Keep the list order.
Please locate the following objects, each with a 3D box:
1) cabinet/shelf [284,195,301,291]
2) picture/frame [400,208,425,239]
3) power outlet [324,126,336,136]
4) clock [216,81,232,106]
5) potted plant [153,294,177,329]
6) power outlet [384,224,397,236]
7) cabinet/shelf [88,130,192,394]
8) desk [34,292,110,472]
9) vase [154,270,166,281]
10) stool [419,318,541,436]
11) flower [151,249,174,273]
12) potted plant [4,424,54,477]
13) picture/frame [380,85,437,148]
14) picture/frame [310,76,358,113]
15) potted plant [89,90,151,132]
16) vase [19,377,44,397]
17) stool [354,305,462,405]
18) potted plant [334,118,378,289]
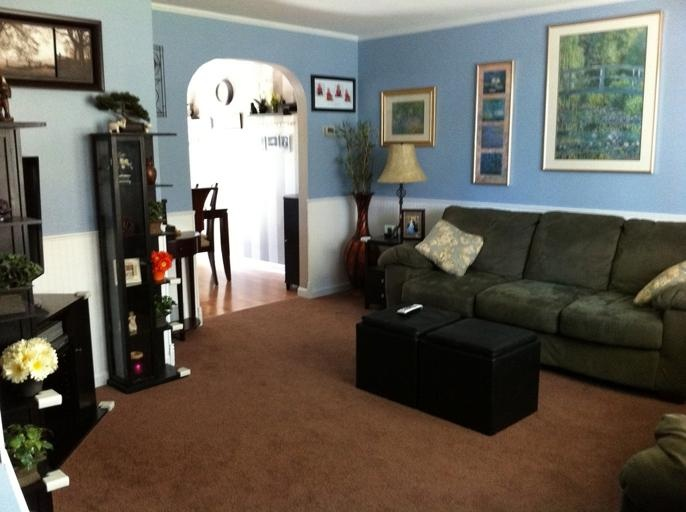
[{"bbox_3d":[-0.579,-0.133,6.103,0.254,1.085,0.144,10,17,39],"label":"cabinet/shelf"},{"bbox_3d":[0.728,-0.337,5.537,0.273,0.409,0.047,3,8,26],"label":"picture/frame"},{"bbox_3d":[-0.148,-1.375,5.899,0.109,0.107,0.077,1,5,-18],"label":"power outlet"},{"bbox_3d":[-1.683,-2.305,7.518,0.048,0.361,0.426,-13,18,-42],"label":"clock"},{"bbox_3d":[-1.373,0.416,4.094,0.193,0.266,0.221,1,1,40],"label":"potted plant"},{"bbox_3d":[0.501,-0.291,5.733,0.141,0.155,0.107,6,14,24],"label":"power outlet"},{"bbox_3d":[-1.506,0.041,3.829,0.528,1.805,0.392,-8,15,-27],"label":"cabinet/shelf"},{"bbox_3d":[-1.619,0.753,3.145,0.335,0.755,0.776,-7,12,-21],"label":"desk"},{"bbox_3d":[-1.353,0.140,3.936,0.061,0.069,0.065,6,9,16],"label":"vase"},{"bbox_3d":[0.918,0.656,3.537,0.653,0.595,0.630,-10,13,-41],"label":"stool"},{"bbox_3d":[-1.334,0.050,3.900,0.133,0.067,0.141,6,52,-16],"label":"flower"},{"bbox_3d":[-1.486,0.928,2.527,0.100,0.232,0.223,-31,-40,28],"label":"potted plant"},{"bbox_3d":[0.732,-1.526,5.761,0.728,0.730,0.053,4,7,37],"label":"picture/frame"},{"bbox_3d":[-0.103,-1.800,5.922,0.097,0.383,0.694,11,18,40],"label":"picture/frame"},{"bbox_3d":[-1.553,-1.036,3.812,0.245,0.283,0.450,8,17,33],"label":"potted plant"},{"bbox_3d":[-1.561,0.655,2.658,0.065,0.061,0.077,1,-3,3],"label":"vase"},{"bbox_3d":[0.468,0.623,3.791,0.597,0.587,0.621,6,11,33],"label":"stool"},{"bbox_3d":[0.170,-0.574,6.129,0.455,1.892,0.504,8,16,32],"label":"potted plant"}]
